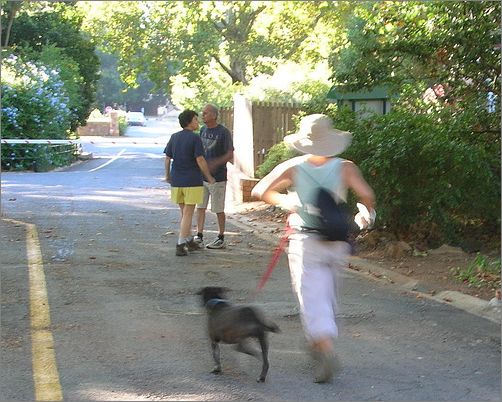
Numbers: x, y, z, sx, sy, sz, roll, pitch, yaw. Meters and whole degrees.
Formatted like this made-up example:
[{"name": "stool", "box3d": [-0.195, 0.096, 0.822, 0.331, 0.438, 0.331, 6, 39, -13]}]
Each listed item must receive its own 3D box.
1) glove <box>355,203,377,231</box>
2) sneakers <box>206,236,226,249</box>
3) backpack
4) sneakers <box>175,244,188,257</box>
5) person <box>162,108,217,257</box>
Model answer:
[{"name": "glove", "box3d": [0.861, 0.119, 3.882, 0.206, 0.185, 0.218, -13, -15, -1]}, {"name": "sneakers", "box3d": [-0.578, 0.725, 8.552, 0.438, 0.150, 0.128, 3, -2, -13]}, {"name": "backpack", "box3d": [0.559, 0.003, 3.776, 0.427, 0.637, 0.191, 2, 6, -2]}, {"name": "sneakers", "box3d": [-1.072, 0.766, 8.008, 0.233, 0.201, 0.146, -3, 8, -40]}, {"name": "person", "box3d": [-1.014, -0.315, 8.155, 0.762, 2.329, 0.625, 1, 7, -10]}]
